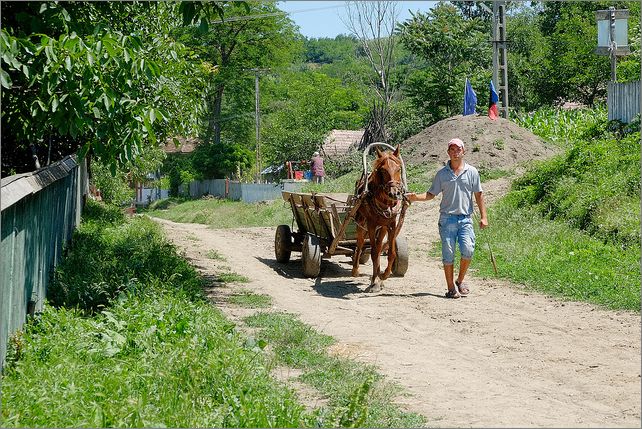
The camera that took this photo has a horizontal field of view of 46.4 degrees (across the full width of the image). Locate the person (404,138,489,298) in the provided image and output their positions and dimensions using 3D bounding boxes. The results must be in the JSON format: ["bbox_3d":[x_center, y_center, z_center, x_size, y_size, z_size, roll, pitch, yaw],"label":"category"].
[{"bbox_3d":[2.686,0.088,14.901,1.213,3.147,0.606,0,5,7],"label":"person"}]

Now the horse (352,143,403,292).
[{"bbox_3d":[1.224,0.107,15.136,0.921,2.922,1.891,-1,5,-14],"label":"horse"}]

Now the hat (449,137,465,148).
[{"bbox_3d":[2.725,-1.401,14.867,0.212,0.177,0.421,2,5,21],"label":"hat"}]

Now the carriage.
[{"bbox_3d":[0.809,0.155,16.325,1.925,2.416,3.793,0,-1,-23],"label":"carriage"}]

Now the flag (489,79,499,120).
[{"bbox_3d":[7.008,-4.607,30.133,0.351,1.669,1.496,1,5,12],"label":"flag"}]
